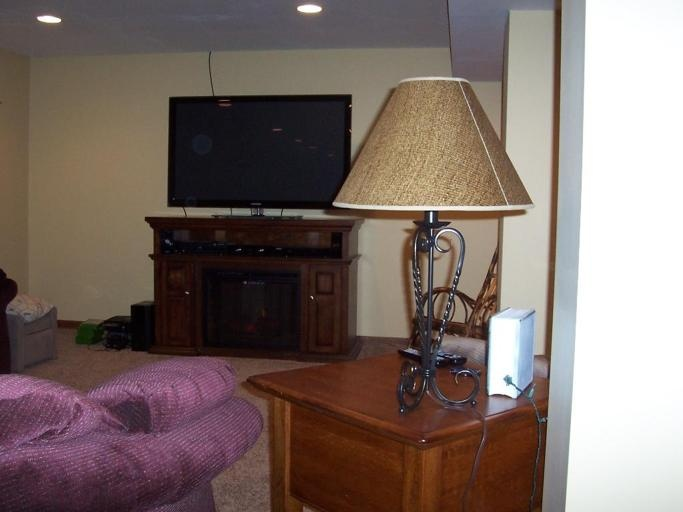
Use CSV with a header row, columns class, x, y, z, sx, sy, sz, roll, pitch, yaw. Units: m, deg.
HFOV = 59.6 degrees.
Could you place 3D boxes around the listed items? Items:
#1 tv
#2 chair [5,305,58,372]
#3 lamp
class,x,y,z,sx,sy,sz,roll,pitch,yaw
tv,-0.666,-0.848,4.908,1.200,0.754,0.045,0,0,7
chair,-2.239,0.606,4.346,0.325,0.460,0.472,1,2,8
lamp,0.202,-0.066,1.930,0.717,1.193,0.754,1,6,10
